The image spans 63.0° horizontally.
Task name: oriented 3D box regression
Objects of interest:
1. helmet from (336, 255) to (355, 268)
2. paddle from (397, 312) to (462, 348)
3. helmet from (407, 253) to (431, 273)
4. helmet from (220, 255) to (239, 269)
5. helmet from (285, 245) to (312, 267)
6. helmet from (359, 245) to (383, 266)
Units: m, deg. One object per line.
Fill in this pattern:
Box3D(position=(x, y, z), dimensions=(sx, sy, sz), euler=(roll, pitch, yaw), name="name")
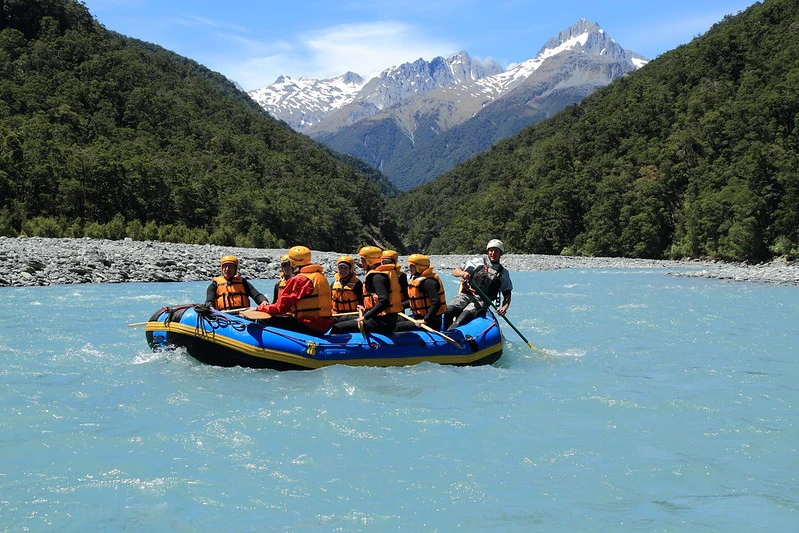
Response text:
Box3D(position=(-1.394, -0.145, 16.910), dimensions=(0.357, 0.324, 0.439), euler=(1, 4, 1), name="helmet")
Box3D(position=(0.734, 1.712, 17.395), dimensions=(2.220, 0.210, 0.241), euler=(20, -6, 11), name="paddle")
Box3D(position=(0.523, -0.089, 17.870), dimensions=(0.596, 0.414, 0.421), euler=(2, 0, 10), name="helmet")
Box3D(position=(-4.564, -0.159, 17.555), dimensions=(0.397, 0.276, 0.436), euler=(0, 14, -7), name="helmet")
Box3D(position=(-2.585, -0.264, 16.781), dimensions=(0.589, 0.435, 0.481), euler=(-2, 15, -14), name="helmet")
Box3D(position=(-0.810, -0.298, 17.509), dimensions=(0.614, 0.432, 0.444), euler=(-11, 21, -10), name="helmet")
